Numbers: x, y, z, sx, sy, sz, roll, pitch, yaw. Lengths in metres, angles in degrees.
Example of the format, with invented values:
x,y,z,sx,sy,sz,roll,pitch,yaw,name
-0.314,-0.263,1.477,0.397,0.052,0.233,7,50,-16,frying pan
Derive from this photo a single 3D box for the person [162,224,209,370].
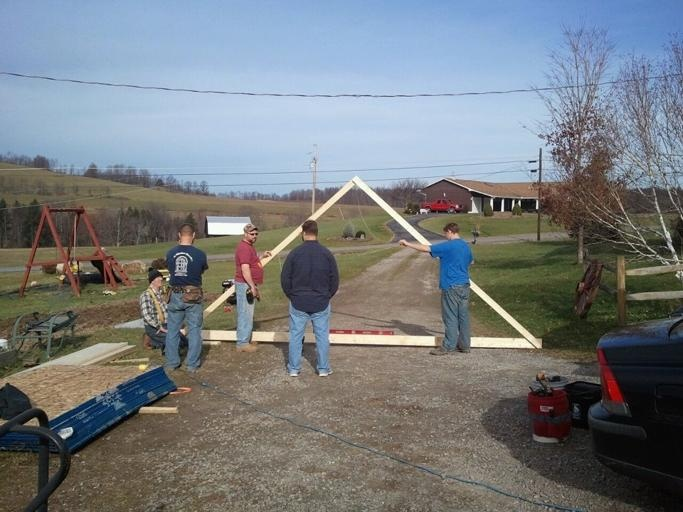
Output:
x,y,z,sx,sy,sz,roll,pitch,yaw,name
-2.596,0.684,8.720,0.821,2.398,0.927,-5,6,-15,person

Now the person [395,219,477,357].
x,y,z,sx,sy,sz,roll,pitch,yaw,name
1.923,0.606,9.416,0.851,2.350,0.807,-2,6,14,person

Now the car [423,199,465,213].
x,y,z,sx,sy,sz,roll,pitch,yaw,name
14.511,-6.907,74.861,3.970,1.353,2.456,1,8,13,car

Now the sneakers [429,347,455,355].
x,y,z,sx,sy,sz,roll,pitch,yaw,name
1.816,1.723,9.431,0.435,0.204,0.153,3,3,3,sneakers

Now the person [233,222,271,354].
x,y,z,sx,sy,sz,roll,pitch,yaw,name
-1.662,0.605,9.637,0.668,2.332,1.187,-5,6,-12,person

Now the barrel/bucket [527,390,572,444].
x,y,z,sx,sy,sz,roll,pitch,yaw,name
2.403,1.843,6.030,0.425,0.480,0.502,-5,-6,29,barrel/bucket

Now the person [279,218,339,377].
x,y,z,sx,sy,sz,roll,pitch,yaw,name
-0.478,0.669,8.388,0.924,2.447,0.721,-4,6,-4,person

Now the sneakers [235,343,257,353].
x,y,z,sx,sy,sz,roll,pitch,yaw,name
-1.750,1.686,9.821,0.435,0.189,0.162,-4,19,-3,sneakers

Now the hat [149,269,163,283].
x,y,z,sx,sy,sz,roll,pitch,yaw,name
-3.402,0.358,9.562,0.250,0.233,0.243,-27,7,-25,hat
